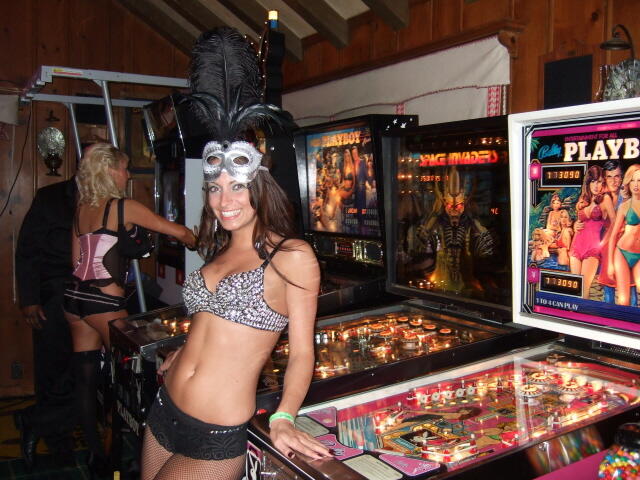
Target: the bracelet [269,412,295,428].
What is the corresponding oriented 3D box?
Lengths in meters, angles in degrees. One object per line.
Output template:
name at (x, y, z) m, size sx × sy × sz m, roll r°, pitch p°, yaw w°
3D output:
bracelet at (-0.107, 0.517, 1.381) m, size 0.069 × 0.043 × 0.048 m, roll -2°, pitch 7°, yaw -4°
